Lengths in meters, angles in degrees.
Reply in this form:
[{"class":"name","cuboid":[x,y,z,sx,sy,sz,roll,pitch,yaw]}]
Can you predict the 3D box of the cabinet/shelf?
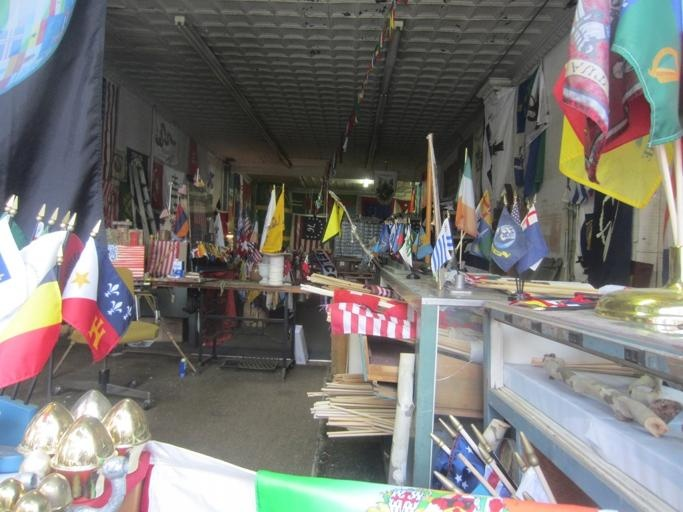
[{"class":"cabinet/shelf","cuboid":[0.511,0.625,2.642,0.418,1.168,1.162,1,4,1]}]
